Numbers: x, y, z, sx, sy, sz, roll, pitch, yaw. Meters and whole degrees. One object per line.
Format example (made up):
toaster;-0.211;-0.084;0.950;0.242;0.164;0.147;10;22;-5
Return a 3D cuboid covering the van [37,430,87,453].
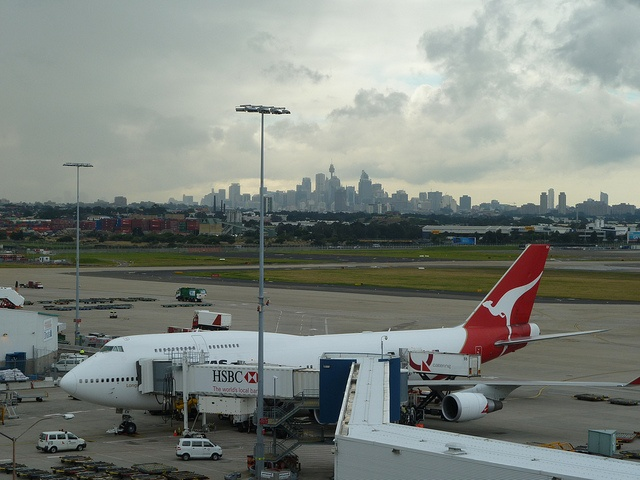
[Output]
van;-16.897;13.176;62.594;2.641;1.058;1.395;-1;4;-6

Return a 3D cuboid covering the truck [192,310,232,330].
truck;-10.229;7.530;89.243;4.458;2.002;1.661;1;4;23

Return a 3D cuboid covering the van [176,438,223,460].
van;-7.740;13.376;61.265;2.539;1.000;1.319;-1;1;-3

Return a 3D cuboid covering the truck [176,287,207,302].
truck;-18.039;7.580;132.651;4.558;1.667;1.918;4;3;41

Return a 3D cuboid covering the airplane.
airplane;2.019;6.044;63.673;37.204;12.312;20.061;0;-4;-14
